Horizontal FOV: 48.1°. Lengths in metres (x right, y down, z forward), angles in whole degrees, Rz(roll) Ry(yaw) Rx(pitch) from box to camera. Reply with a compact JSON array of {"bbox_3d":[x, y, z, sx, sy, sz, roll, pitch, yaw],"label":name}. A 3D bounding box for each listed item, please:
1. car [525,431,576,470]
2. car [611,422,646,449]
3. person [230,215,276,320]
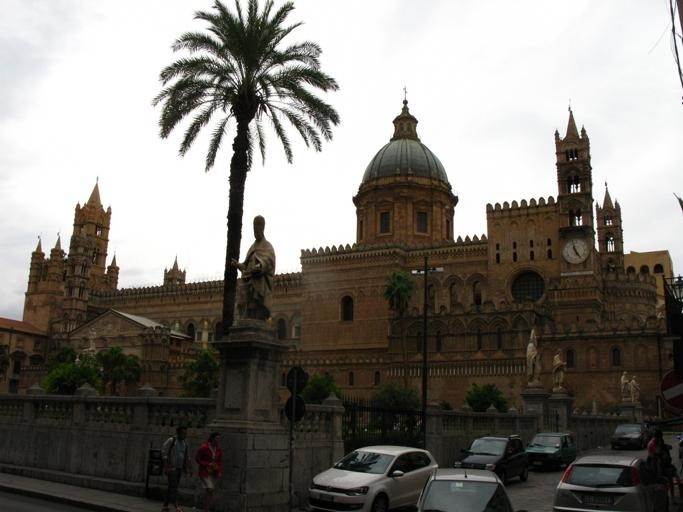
[{"bbox_3d":[9.183,8.429,33.089,1.492,1.141,2.345,-11,-30,28],"label":"car"},{"bbox_3d":[15.816,9.899,42.026,1.598,1.295,1.975,-10,-17,36],"label":"car"},{"bbox_3d":[-2.506,0.318,22.323,1.100,3.011,1.158,2,-14,-8],"label":"person"}]
